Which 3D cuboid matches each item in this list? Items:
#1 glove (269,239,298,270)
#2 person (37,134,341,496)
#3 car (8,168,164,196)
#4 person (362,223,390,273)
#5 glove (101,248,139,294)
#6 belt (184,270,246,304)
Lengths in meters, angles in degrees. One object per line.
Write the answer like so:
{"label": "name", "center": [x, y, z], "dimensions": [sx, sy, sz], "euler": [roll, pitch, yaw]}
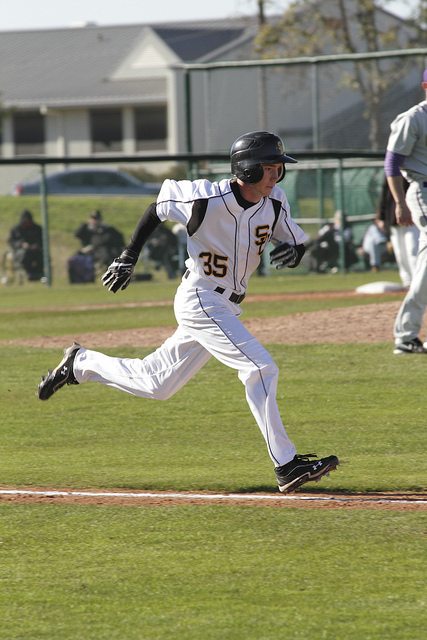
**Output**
{"label": "glove", "center": [0.298, -0.266, 4.089], "dimensions": [0.137, 0.108, 0.113], "euler": [-7, 8, -29]}
{"label": "person", "center": [-0.049, -0.052, 4.108], "dimensions": [0.620, 1.396, 1.711], "euler": [3, 0, -44]}
{"label": "car", "center": [-3.318, -3.703, 26.102], "dimensions": [2.681, 0.825, 3.452], "euler": [3, 8, 39]}
{"label": "person", "center": [2.629, -1.147, 15.683], "dimensions": [0.318, 0.299, 0.887], "euler": [-15, -3, 4]}
{"label": "glove", "center": [-0.378, -0.194, 4.058], "dimensions": [0.143, 0.199, 0.086], "euler": [28, 9, -9]}
{"label": "belt", "center": [0.026, -0.096, 3.996], "dimensions": [0.200, 0.059, 0.140], "euler": [27, 6, -17]}
